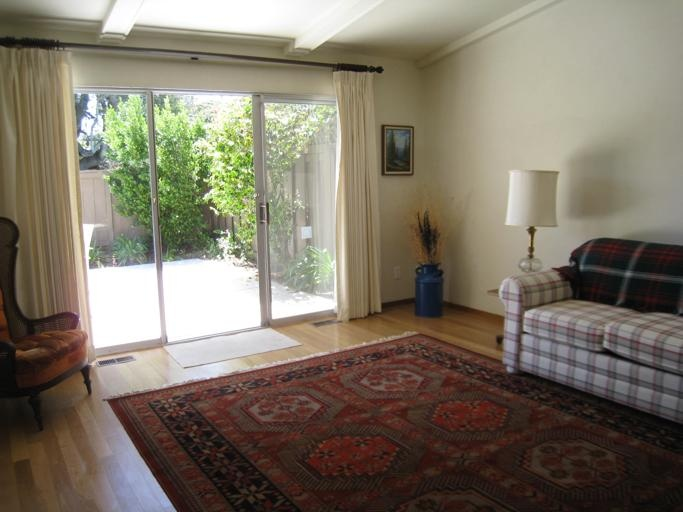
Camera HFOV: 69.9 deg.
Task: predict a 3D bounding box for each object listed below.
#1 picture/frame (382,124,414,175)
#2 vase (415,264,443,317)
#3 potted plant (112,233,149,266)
[{"bbox_3d":[0.676,-1.260,5.845,0.484,0.589,0.031,-5,9,-31],"label":"picture/frame"},{"bbox_3d":[0.994,0.381,5.552,0.296,0.592,0.237,0,13,7],"label":"vase"},{"bbox_3d":[-2.346,-0.076,5.465,0.344,0.289,0.342,-4,6,-33],"label":"potted plant"}]
